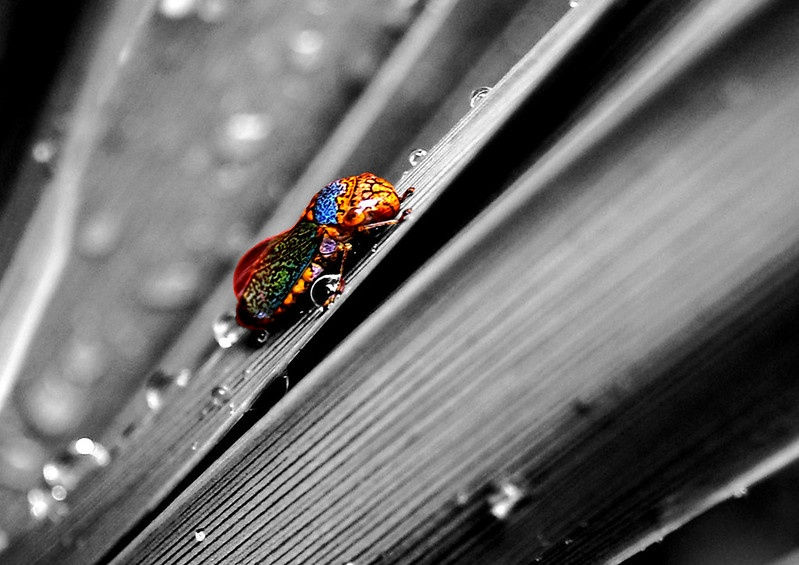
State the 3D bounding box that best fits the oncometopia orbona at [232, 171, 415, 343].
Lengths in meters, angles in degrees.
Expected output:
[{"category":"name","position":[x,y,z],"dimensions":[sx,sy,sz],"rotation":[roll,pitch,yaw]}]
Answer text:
[{"category":"oncometopia orbona","position":[-0.024,-0.001,0.545],"dimensions":[0.114,0.104,0.147],"rotation":[8,-11,-44]}]
